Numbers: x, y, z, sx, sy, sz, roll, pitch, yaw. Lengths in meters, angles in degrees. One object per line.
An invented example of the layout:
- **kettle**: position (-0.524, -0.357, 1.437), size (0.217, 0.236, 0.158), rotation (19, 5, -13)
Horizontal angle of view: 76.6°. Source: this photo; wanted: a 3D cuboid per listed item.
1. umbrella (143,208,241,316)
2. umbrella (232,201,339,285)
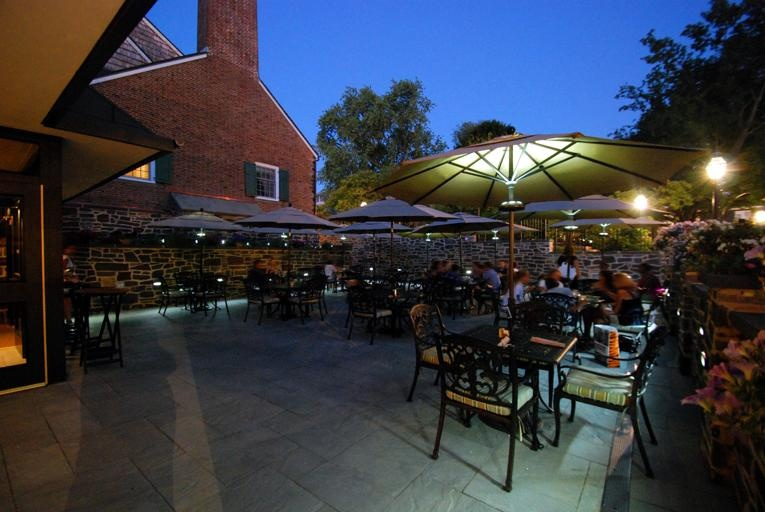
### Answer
- **umbrella**: position (-5.515, 0.102, 13.625), size (2.982, 2.525, 2.683), rotation (0, -1, 1)
- **umbrella**: position (-2.298, -0.273, 11.924), size (2.092, 1.345, 2.011), rotation (0, -1, 15)
